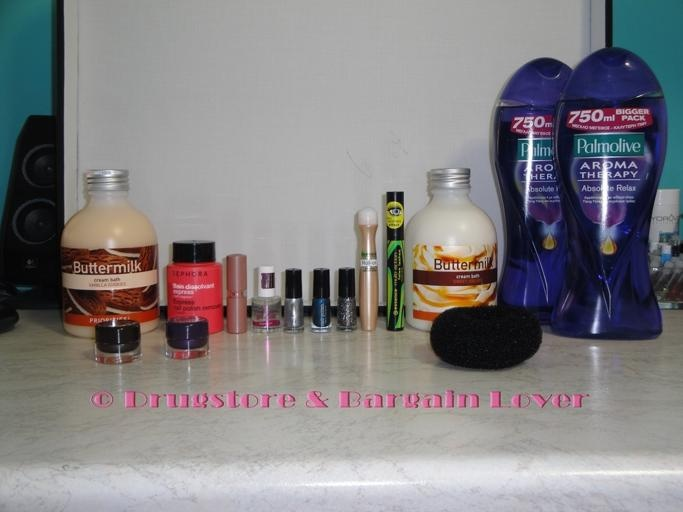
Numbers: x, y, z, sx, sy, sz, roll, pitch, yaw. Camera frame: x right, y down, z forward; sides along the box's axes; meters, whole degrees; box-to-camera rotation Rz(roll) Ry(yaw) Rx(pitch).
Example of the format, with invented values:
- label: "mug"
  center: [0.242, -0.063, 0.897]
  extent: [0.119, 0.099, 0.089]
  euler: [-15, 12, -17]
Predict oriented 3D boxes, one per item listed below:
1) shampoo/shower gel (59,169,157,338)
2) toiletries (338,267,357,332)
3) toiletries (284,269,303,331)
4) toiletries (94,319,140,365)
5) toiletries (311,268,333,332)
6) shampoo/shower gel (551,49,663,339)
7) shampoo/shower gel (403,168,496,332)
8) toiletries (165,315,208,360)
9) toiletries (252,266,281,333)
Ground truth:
- label: "shampoo/shower gel"
  center: [-0.327, -0.005, 0.946]
  extent: [0.136, 0.227, 0.109]
  euler: [-10, 16, -35]
- label: "toiletries"
  center: [0.007, 0.059, 0.985]
  extent: [0.027, 0.091, 0.053]
  euler: [-1, 13, -1]
- label: "toiletries"
  center: [-0.072, 0.062, 0.972]
  extent: [0.027, 0.089, 0.035]
  euler: [-2, 13, -5]
- label: "toiletries"
  center: [-0.280, 0.106, 0.838]
  extent: [0.052, 0.042, 0.052]
  euler: [1, 4, 25]
- label: "toiletries"
  center: [-0.030, 0.063, 0.967]
  extent: [0.027, 0.089, 0.028]
  euler: [-1, 13, -3]
- label: "shampoo/shower gel"
  center: [0.365, -0.083, 0.912]
  extent: [0.150, 0.390, 0.090]
  euler: [3, 14, 14]
- label: "shampoo/shower gel"
  center: [0.159, -0.012, 0.974]
  extent: [0.131, 0.227, 0.138]
  euler: [7, 15, 31]
- label: "toiletries"
  center: [-0.201, 0.106, 0.878]
  extent: [0.057, 0.047, 0.055]
  euler: [-4, 5, -30]
- label: "toiletries"
  center: [-0.112, 0.057, 0.984]
  extent: [0.042, 0.094, 0.051]
  euler: [-2, 13, -6]
